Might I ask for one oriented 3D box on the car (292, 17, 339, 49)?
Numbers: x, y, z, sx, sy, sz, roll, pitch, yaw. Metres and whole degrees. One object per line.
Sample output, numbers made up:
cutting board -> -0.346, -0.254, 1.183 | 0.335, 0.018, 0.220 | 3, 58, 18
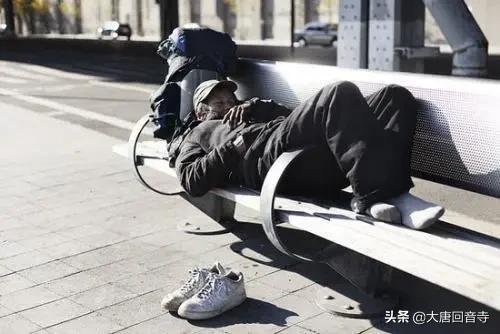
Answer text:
car -> 4.884, -9.350, 34.302 | 1.447, 1.660, 3.671 | -11, 18, -31

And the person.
person -> 0.369, -0.146, 3.692 | 1.066, 0.754, 1.800 | -10, 14, -40
